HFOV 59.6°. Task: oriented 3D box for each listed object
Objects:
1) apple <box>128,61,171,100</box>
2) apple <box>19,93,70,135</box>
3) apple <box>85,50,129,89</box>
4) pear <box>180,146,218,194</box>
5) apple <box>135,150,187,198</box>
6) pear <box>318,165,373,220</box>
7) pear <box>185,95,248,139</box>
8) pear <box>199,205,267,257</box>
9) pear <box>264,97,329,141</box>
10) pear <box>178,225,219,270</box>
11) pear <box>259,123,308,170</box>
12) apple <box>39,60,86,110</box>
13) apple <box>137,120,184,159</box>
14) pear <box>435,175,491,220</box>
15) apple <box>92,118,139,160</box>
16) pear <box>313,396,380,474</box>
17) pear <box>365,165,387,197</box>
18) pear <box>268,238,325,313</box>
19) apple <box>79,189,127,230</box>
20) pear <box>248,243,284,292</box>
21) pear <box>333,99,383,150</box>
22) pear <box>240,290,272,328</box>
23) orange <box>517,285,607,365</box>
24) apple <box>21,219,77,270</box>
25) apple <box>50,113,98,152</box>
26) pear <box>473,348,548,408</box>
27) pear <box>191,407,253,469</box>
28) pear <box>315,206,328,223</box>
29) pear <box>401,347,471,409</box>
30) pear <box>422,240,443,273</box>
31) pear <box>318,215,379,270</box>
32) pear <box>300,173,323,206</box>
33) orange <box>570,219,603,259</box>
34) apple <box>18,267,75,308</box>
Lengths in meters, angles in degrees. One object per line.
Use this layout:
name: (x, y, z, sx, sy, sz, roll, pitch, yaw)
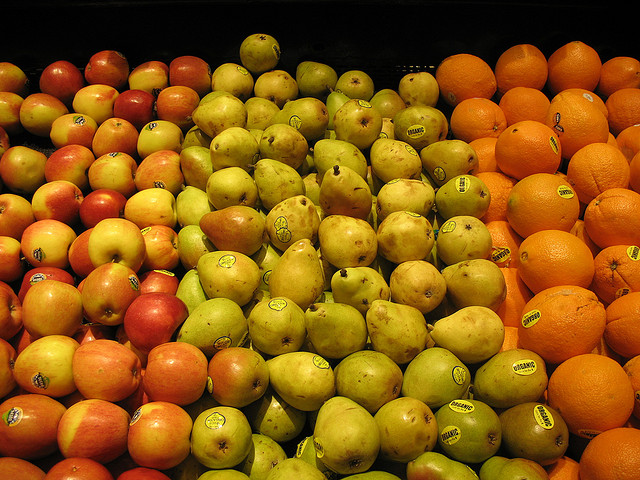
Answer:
apple: (-1.105, -1.019, 3.721, 0.270, 0.274, 0.310, -3, 45, -10)
apple: (-1.807, -0.780, 3.604, 0.238, 0.237, 0.297, -4, 62, -44)
apple: (-1.388, -1.107, 3.679, 0.245, 0.243, 0.268, -18, 88, -27)
pear: (-0.696, -0.410, 3.211, 0.178, 0.155, 0.269, 1, 100, -27)
apple: (-0.948, -0.391, 3.319, 0.252, 0.251, 0.261, 4, 96, 3)
pear: (0.157, -0.266, 3.003, 0.235, 0.333, 0.256, -4, 43, 2)
pear: (-0.592, -0.716, 3.221, 0.283, 0.221, 0.243, -11, 100, 0)
pear: (-0.447, -0.055, 3.051, 0.347, 0.279, 0.275, 5, 14, 21)
pear: (-0.132, -0.712, 3.329, 0.293, 0.195, 0.231, -2, 56, 21)
pear: (-0.697, 0.035, 3.133, 0.241, 0.176, 0.180, 45, 56, 13)
pear: (-0.228, -0.517, 3.192, 0.223, 0.253, 0.220, 14, 62, 43)
apple: (-1.675, -1.067, 3.726, 0.227, 0.275, 0.248, 17, 56, -7)
apple: (-0.954, -0.596, 3.480, 0.216, 0.228, 0.247, 24, 89, 12)
pear: (0.801, -0.210, 3.095, 0.280, 0.252, 0.243, -10, 54, 33)
apple: (-1.241, -0.618, 3.434, 0.234, 0.291, 0.247, 13, 34, -17)
pear: (0.106, 0.883, 2.609, 0.251, 0.245, 0.328, 8, 46, -23)
pear: (0.312, -0.336, 3.204, 0.147, 0.156, 0.190, -3, 91, -17)
pear: (-0.114, 0.187, 2.916, 0.284, 0.297, 0.415, 4, 104, 2)
apple: (-1.237, -0.211, 3.227, 0.217, 0.239, 0.226, -3, 17, -5)
pear: (-0.263, 0.153, 2.998, 0.213, 0.218, 0.272, 0, 90, 17)
pear: (0.216, -0.661, 3.297, 0.262, 0.279, 0.260, 4, 21, -2)
pear: (-0.335, 0.359, 2.929, 0.147, 0.154, 0.195, 0, 92, -2)
orange: (1.297, 0.346, 2.842, 0.431, 0.369, 0.350, 7, 24, 43)
apple: (-1.514, 0.028, 3.252, 0.308, 0.280, 0.284, 11, 91, -6)
apple: (-1.531, -0.650, 3.535, 0.239, 0.234, 0.259, 10, 100, 23)
pear: (0.952, 0.691, 2.794, 0.379, 0.303, 0.287, -10, 38, 19)
pear: (-0.448, 0.914, 2.666, 0.259, 0.262, 0.256, 26, 83, -6)
pear: (0.002, -0.143, 3.089, 0.057, 0.069, 0.039, 25, 32, -33)
pear: (0.578, 0.637, 2.758, 0.275, 0.352, 0.265, 15, 14, 35)
pear: (0.612, 0.081, 3.017, 0.136, 0.147, 0.178, -1, 89, 12)
pear: (0.125, 0.014, 2.981, 0.271, 0.361, 0.278, 27, 96, -14)
pear: (-0.036, -0.298, 3.252, 0.147, 0.150, 0.186, 1, 89, 12)
orange: (1.474, -0.012, 3.094, 0.164, 0.178, 0.216, -2, 87, 10)
apple: (-1.485, 0.218, 3.096, 0.219, 0.229, 0.248, 23, 90, 28)
